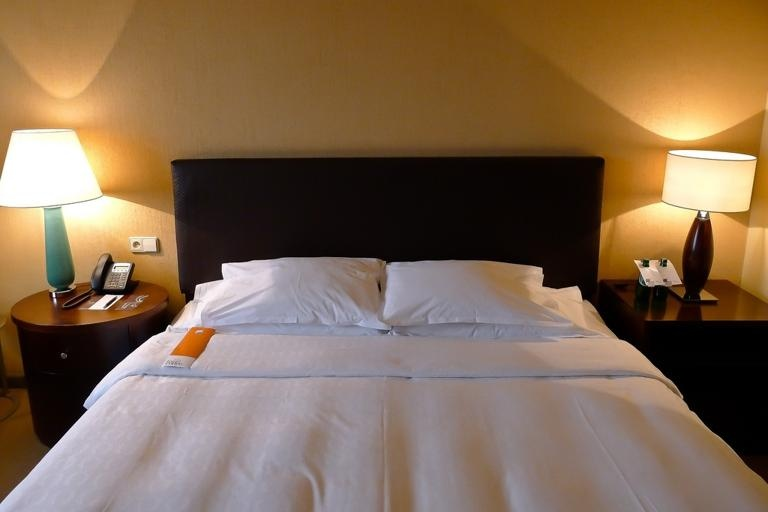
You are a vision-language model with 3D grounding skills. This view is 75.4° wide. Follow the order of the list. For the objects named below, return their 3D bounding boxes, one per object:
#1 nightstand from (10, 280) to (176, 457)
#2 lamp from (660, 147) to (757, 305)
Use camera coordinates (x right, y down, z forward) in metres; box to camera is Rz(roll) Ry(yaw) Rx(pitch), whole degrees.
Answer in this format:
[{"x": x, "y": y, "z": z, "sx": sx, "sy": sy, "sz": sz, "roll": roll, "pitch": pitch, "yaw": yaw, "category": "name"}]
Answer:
[{"x": -1.897, "y": 0.666, "z": 3.242, "sx": 0.705, "sy": 0.806, "sz": 0.778, "roll": 4, "pitch": 15, "yaw": -5, "category": "nightstand"}, {"x": 1.995, "y": -0.164, "z": 3.157, "sx": 0.491, "sy": 0.902, "sz": 0.499, "roll": 9, "pitch": 14, "yaw": 32, "category": "lamp"}]
